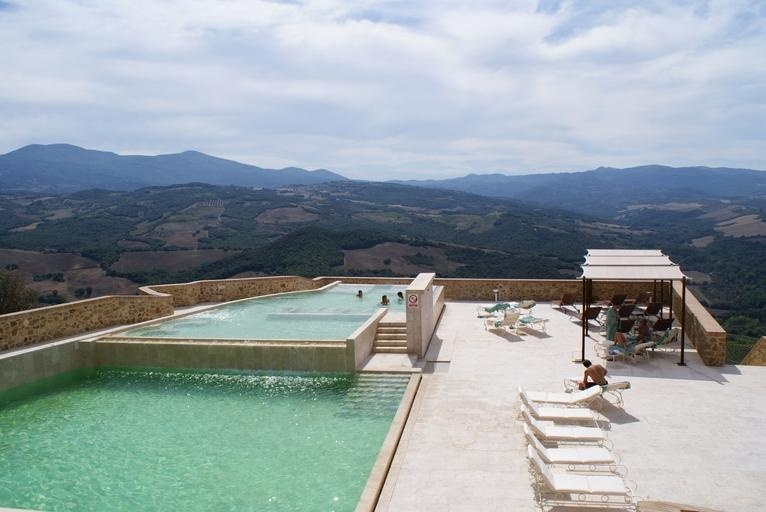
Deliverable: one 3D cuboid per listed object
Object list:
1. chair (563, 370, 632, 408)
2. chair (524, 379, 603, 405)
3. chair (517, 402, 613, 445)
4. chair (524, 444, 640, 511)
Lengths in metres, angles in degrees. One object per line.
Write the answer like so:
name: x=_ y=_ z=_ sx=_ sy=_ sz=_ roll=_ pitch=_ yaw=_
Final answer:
chair: x=4.140 y=2.454 z=9.273 sx=0.513 sy=0.506 sz=1.294 roll=-22 pitch=8 yaw=-39
chair: x=3.346 y=2.549 z=8.861 sx=1.237 sy=0.194 sz=0.535 roll=2 pitch=-4 yaw=5
chair: x=2.991 y=2.878 z=7.906 sx=1.179 sy=0.216 sz=0.517 roll=1 pitch=0 yaw=8
chair: x=2.851 y=3.317 z=6.830 sx=1.371 sy=0.372 sz=0.658 roll=-1 pitch=5 yaw=6
